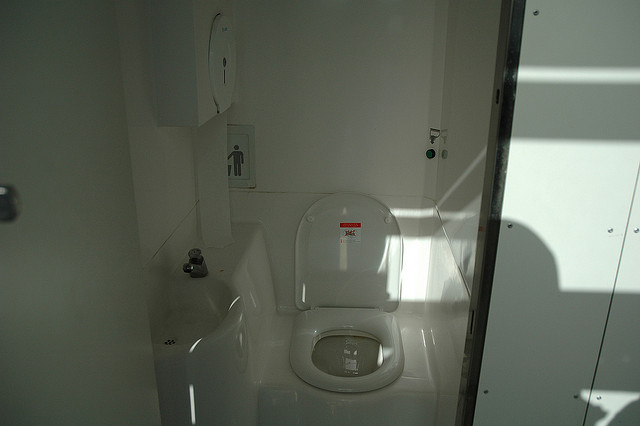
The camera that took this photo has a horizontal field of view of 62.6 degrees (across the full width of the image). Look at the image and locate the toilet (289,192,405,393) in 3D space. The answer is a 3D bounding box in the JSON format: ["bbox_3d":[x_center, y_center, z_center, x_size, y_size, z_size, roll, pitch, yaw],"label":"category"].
[{"bbox_3d":[0.107,0.354,2.053,0.498,0.426,0.729,4,-55,8],"label":"toilet"}]
